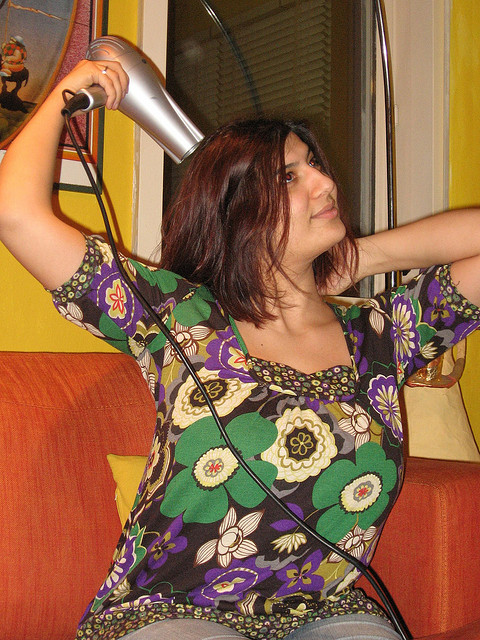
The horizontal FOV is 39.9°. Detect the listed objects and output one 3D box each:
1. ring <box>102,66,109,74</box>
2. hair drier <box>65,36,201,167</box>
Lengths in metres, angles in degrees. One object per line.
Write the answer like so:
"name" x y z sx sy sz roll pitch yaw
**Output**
"ring" -0.192 -0.358 0.943 0.005 0.011 0.013 -1 9 25
"hair drier" -0.174 -0.328 0.965 0.138 0.146 0.039 24 -42 -25
